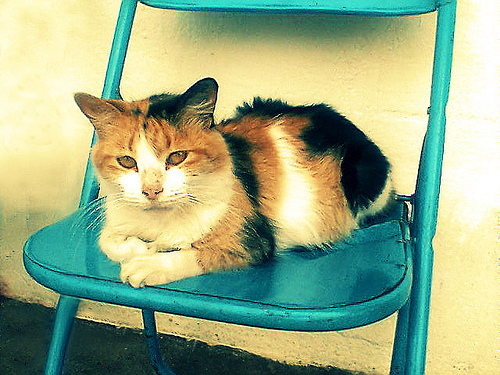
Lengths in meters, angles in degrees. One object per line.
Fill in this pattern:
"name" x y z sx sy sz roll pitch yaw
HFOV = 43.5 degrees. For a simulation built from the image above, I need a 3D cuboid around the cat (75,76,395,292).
"cat" -0.003 -0.041 1.714 0.495 0.447 0.761 5 24 37
